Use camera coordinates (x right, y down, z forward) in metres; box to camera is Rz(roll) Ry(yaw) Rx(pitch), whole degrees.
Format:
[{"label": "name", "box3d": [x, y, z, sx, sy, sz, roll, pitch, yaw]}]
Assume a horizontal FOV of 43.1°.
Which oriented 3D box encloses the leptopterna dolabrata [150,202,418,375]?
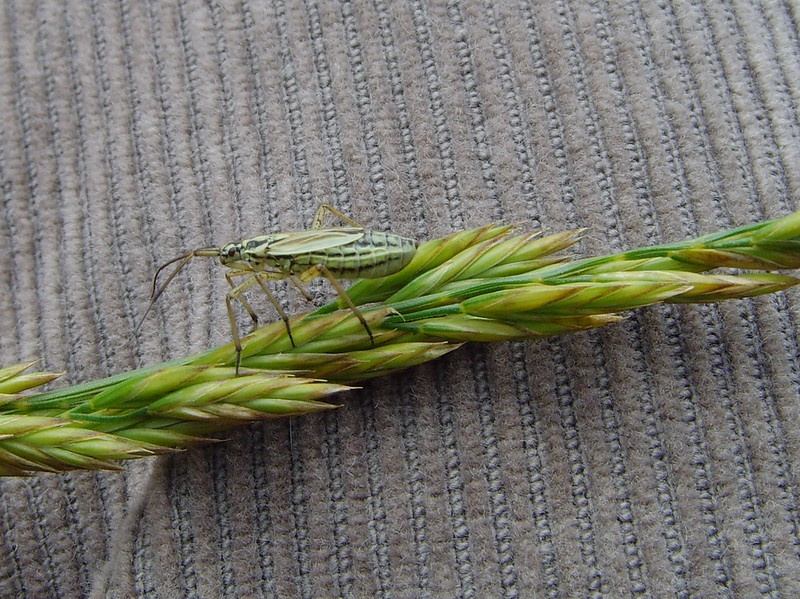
[{"label": "leptopterna dolabrata", "box3d": [-0.112, -0.001, 1.342, 0.377, 0.230, 0.084, -10, -75, 14]}]
